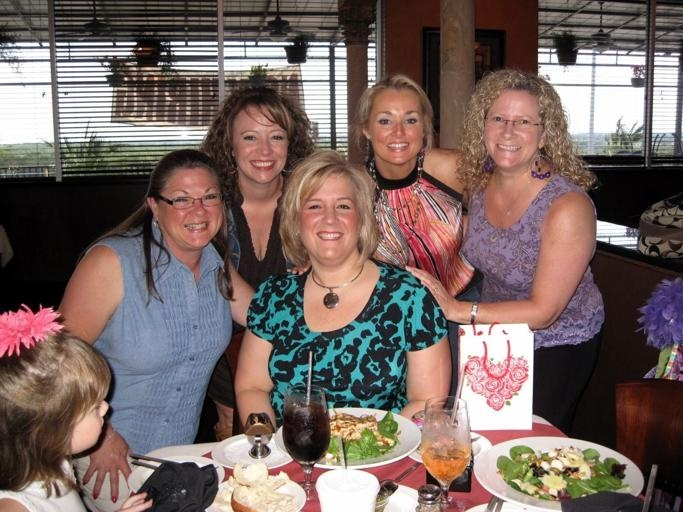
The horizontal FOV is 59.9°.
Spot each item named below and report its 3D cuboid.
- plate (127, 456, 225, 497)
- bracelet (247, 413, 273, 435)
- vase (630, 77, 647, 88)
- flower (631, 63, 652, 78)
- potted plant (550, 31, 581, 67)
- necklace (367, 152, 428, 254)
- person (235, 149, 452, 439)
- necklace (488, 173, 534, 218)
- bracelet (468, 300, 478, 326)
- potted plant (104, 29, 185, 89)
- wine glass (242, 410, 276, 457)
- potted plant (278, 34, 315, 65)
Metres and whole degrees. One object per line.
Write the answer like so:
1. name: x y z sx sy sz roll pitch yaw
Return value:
1. plate: -0.580 0.721 2.022 0.202 0.029 0.219 4 6 -4
2. bracelet: -0.301 0.608 2.153 0.079 0.082 0.057 0 5 -6
3. vase: 5.189 -3.055 10.411 0.208 0.177 0.098 -4 11 -9
4. flower: 5.197 -3.220 10.271 0.205 0.216 0.442 -2 11 3
5. potted plant: 3.768 -3.495 10.136 0.436 0.616 0.533 -2 9 -7
6. necklace: 0.288 -0.300 3.514 0.317 0.603 0.136 0 -1 1
7. person: -0.028 0.265 2.588 0.894 1.391 0.791 -2 6 4
8. necklace: 0.881 -0.310 3.130 0.187 0.255 0.112 9 13 30
9. bracelet: 0.628 0.278 2.842 0.044 0.102 0.097 5 1 8
10. potted plant: -2.979 -2.905 8.793 0.922 0.379 0.703 -5 10 -6
11. wine glass: -0.301 0.643 2.136 0.120 0.175 0.106 4 -22 -14
12. potted plant: -0.696 -3.280 9.462 0.409 0.322 0.410 -8 13 -32
